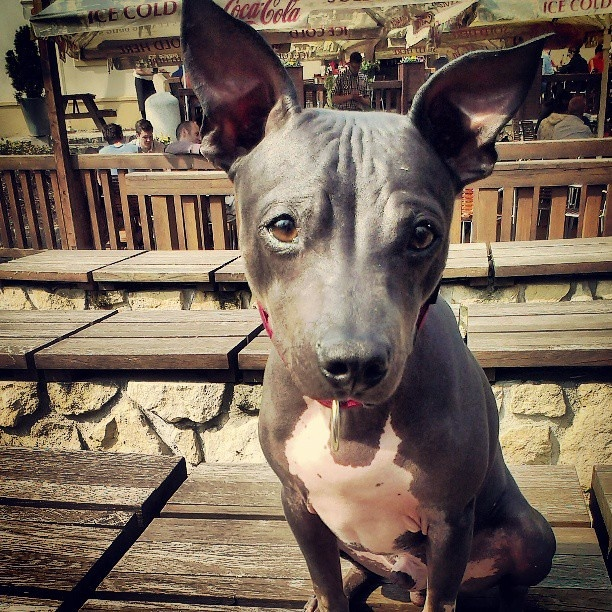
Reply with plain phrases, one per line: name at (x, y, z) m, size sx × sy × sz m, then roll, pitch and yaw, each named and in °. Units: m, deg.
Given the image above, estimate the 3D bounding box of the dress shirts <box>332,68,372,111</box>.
dress shirts at (0.585, -2.681, 10.026) m, size 0.515 × 0.595 × 0.329 m, roll 3°, pitch -13°, yaw 1°

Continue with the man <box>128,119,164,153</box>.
man at (-1.912, -2.034, 9.474) m, size 0.402 × 0.375 × 0.620 m, roll -6°, pitch 18°, yaw -11°

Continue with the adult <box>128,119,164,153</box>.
adult at (-1.912, -2.034, 9.474) m, size 0.402 × 0.375 × 0.620 m, roll -6°, pitch 18°, yaw -11°

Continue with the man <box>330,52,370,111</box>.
man at (0.582, -2.688, 10.031) m, size 0.485 × 0.979 × 0.461 m, roll 2°, pitch 34°, yaw 4°

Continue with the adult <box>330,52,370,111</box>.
adult at (0.608, -2.694, 10.037) m, size 0.438 × 0.990 × 0.463 m, roll -20°, pitch 37°, yaw -24°
